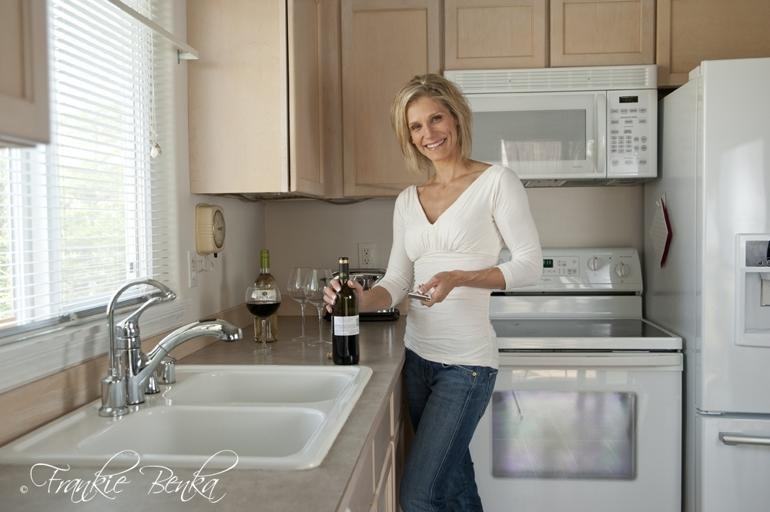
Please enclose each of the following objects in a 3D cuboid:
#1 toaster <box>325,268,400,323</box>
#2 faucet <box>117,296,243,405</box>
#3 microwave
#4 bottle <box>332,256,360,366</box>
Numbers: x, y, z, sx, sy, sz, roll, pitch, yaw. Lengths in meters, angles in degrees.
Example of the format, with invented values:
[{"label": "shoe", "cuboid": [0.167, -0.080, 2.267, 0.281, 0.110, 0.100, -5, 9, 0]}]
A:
[{"label": "toaster", "cuboid": [-0.056, 0.199, 2.853, 0.300, 0.254, 0.214, -7, -21, 43]}, {"label": "faucet", "cuboid": [-0.584, 0.269, 1.845, 0.373, 0.286, 0.279, -1, 5, -6]}, {"label": "microwave", "cuboid": [0.805, -0.609, 2.684, 0.869, 0.446, 0.529, 0, 1, 9]}, {"label": "bottle", "cuboid": [-0.143, 0.186, 2.054, 0.099, 0.367, 0.113, -3, 4, -6]}]
